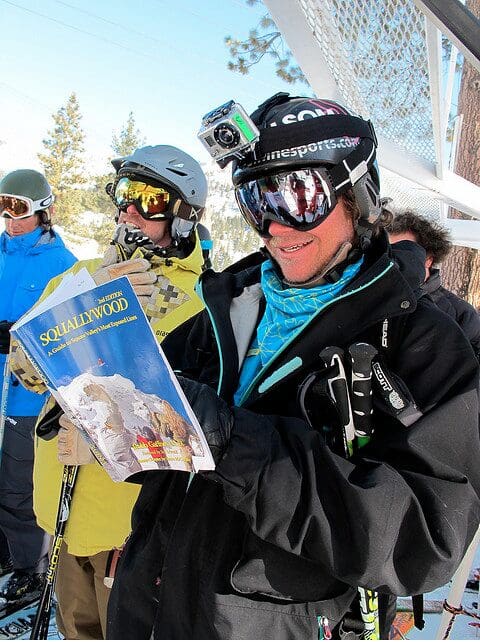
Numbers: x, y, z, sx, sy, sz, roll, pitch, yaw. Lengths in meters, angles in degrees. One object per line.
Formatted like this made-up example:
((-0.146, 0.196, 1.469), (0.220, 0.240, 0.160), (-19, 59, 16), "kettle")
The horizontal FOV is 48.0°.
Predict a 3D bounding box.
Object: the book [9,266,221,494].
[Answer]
((-0.168, 0.086, 1.194), (0.377, 0.468, 0.147), (-23, 18, 38), "book")

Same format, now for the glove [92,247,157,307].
((-0.518, -0.215, 2.612), (0.391, 0.302, 0.276), (0, 15, -7), "glove")

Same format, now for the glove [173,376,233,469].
((-0.068, 0.217, 1.167), (0.067, 0.160, 0.125), (-43, -19, 0), "glove")

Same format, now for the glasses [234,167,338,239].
((0.106, -0.302, 1.414), (0.180, 0.093, 0.213), (-11, -1, 33), "glasses")

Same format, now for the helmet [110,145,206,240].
((-0.378, -0.681, 2.885), (0.448, 0.439, 0.553), (18, 13, 30), "helmet")
